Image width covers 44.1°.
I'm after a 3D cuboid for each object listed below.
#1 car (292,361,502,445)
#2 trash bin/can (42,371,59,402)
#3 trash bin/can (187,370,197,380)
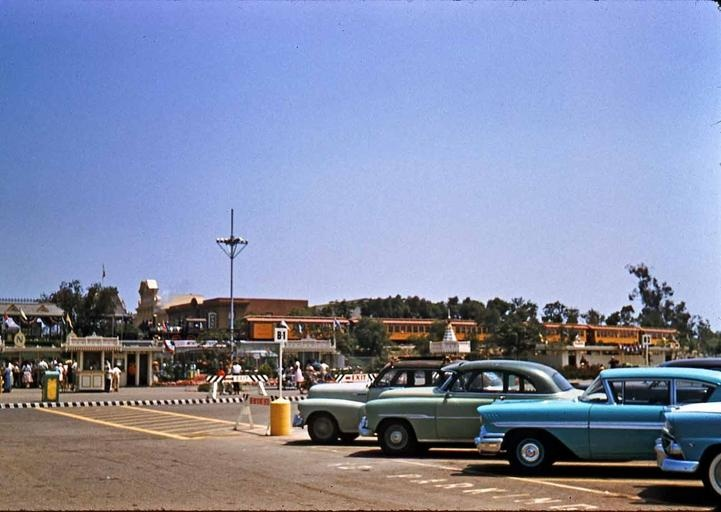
[{"bbox_3d":[0.598,3.375,20.973,4.600,1.869,1.997,-2,-7,14],"label":"car"},{"bbox_3d":[-12.133,5.104,34.867,0.577,1.139,1.001,3,-9,-18],"label":"trash bin/can"},{"bbox_3d":[-10.481,7.386,55.423,0.395,0.796,0.416,-1,-4,5],"label":"trash bin/can"}]
